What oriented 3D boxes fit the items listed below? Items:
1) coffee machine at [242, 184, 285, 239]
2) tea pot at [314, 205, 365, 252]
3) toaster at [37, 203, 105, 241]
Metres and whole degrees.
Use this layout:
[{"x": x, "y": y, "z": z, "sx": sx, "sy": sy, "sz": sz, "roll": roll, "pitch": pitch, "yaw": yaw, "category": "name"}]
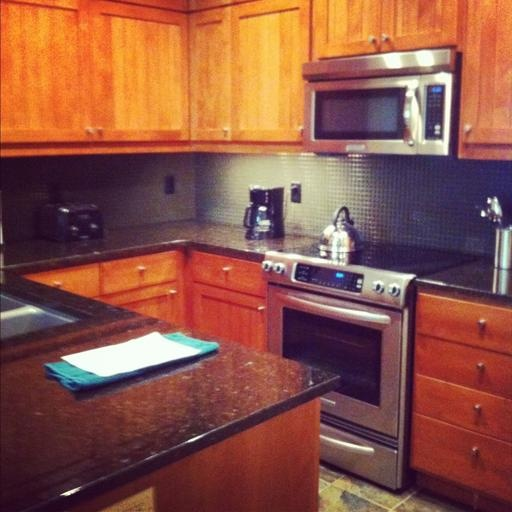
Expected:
[{"x": 0.056, "y": -0.276, "z": 3.108, "sx": 0.257, "sy": 0.322, "sz": 0.182, "roll": 0, "pitch": 10, "yaw": -7, "category": "coffee machine"}, {"x": 0.453, "y": -0.136, "z": 2.687, "sx": 0.251, "sy": 0.269, "sz": 0.234, "roll": 2, "pitch": 14, "yaw": -1, "category": "tea pot"}, {"x": -1.147, "y": -0.212, "z": 3.030, "sx": 0.269, "sy": 0.213, "sz": 0.261, "roll": 6, "pitch": 9, "yaw": 41, "category": "toaster"}]
